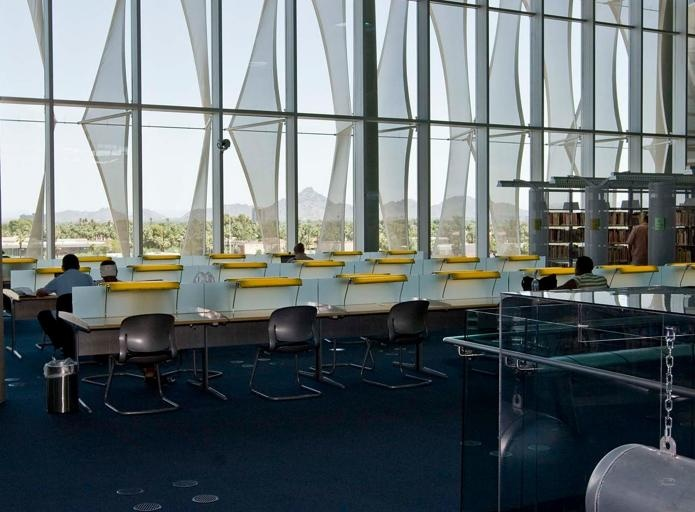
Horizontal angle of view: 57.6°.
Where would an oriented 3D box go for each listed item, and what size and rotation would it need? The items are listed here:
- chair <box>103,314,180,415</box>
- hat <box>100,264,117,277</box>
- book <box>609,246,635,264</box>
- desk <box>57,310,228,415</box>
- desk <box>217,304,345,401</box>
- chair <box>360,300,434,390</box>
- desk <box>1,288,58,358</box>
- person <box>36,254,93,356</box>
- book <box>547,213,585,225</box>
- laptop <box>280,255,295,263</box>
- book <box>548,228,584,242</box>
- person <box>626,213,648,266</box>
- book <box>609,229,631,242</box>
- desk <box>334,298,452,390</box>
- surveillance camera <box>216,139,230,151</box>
[{"bbox_3d":[-2.188,1.025,6.432,0.716,1.010,0.883,-1,4,-24],"label":"chair"},{"bbox_3d":[-3.070,0.178,7.821,0.130,0.140,0.173,-2,-10,-18],"label":"hat"},{"bbox_3d":[7.022,-0.052,16.119,0.442,0.431,0.170,-2,4,-10],"label":"book"},{"bbox_3d":[-2.279,1.124,6.636,1.224,0.797,1.232,-1,7,-23],"label":"desk"},{"bbox_3d":[-0.803,0.920,7.061,1.082,1.333,1.002,-1,1,-22],"label":"desk"},{"bbox_3d":[0.712,1.013,7.697,0.783,1.362,1.023,-1,3,-30],"label":"chair"},{"bbox_3d":[-4.474,0.915,8.641,1.003,0.624,0.576,-1,4,-44],"label":"desk"},{"bbox_3d":[-3.610,0.637,7.944,0.713,1.279,0.611,4,1,39],"label":"person"},{"bbox_3d":[5.587,-0.960,16.060,1.031,0.331,0.256,-1,4,-24],"label":"book"},{"bbox_3d":[-1.248,0.046,12.217,0.213,0.277,0.223,0,-3,7],"label":"laptop"},{"bbox_3d":[5.591,-0.540,15.952,0.953,0.360,0.362,-1,4,-21],"label":"book"},{"bbox_3d":[6.556,-0.385,14.143,0.396,1.178,1.346,2,4,24],"label":"person"},{"bbox_3d":[7.057,-0.559,16.230,0.315,0.318,0.174,1,12,7],"label":"book"},{"bbox_3d":[0.627,1.042,7.654,1.132,1.320,1.024,-1,3,-30],"label":"desk"},{"bbox_3d":[-2.893,-2.450,13.901,0.271,0.201,0.238,-22,-12,36],"label":"surveillance camera"}]
